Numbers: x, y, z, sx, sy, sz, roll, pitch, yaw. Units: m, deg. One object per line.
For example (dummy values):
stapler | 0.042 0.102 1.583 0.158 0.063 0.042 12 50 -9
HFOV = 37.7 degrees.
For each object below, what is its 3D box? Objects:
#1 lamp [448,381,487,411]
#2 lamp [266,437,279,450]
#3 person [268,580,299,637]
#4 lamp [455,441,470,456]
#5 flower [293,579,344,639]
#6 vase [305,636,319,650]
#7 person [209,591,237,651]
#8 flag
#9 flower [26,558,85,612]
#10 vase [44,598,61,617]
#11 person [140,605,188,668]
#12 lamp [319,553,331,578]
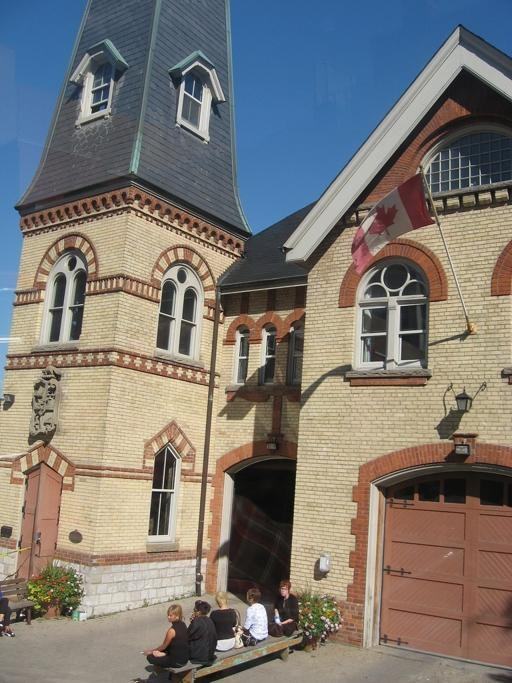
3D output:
lamp | 3.381 0.914 12.439 0.687 0.521 0.397 -10 -19 43
lamp | 0.364 2.299 16.625 0.269 0.320 0.365 11 -15 -39
person | 0.459 4.427 12.457 0.485 0.826 0.582 2 -14 3
lamp | 3.379 1.741 12.299 0.290 0.230 0.147 0 1 31
flower | 0.983 4.580 12.793 0.887 0.447 0.786 6 14 11
vase | 0.921 5.075 12.634 0.289 0.223 0.147 1 -9 -8
person | -0.505 4.124 11.081 0.458 0.821 0.537 0 -3 -16
flag | 2.490 -2.080 13.390 2.068 1.768 0.289 -6 8 44
flower | -3.941 4.665 14.289 0.912 0.847 0.954 -4 -19 40
vase | -3.840 5.032 14.184 0.366 0.327 0.288 17 -30 -40
person | -1.179 4.019 10.204 0.518 0.836 0.308 -3 -16 24
lamp | 1.212 4.009 13.393 0.206 0.413 0.309 2 -14 4
